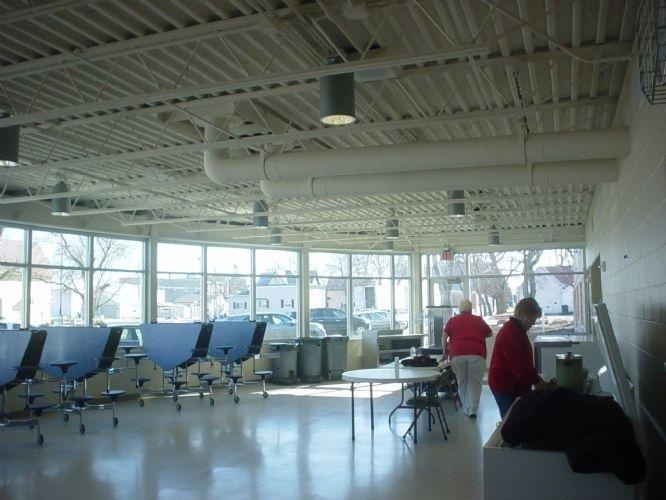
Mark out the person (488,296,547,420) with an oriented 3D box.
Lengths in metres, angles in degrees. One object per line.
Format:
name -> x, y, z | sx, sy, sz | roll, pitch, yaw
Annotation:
person -> 1.893, 1.120, 5.984 | 0.551, 1.234, 0.656 | -3, -9, 8

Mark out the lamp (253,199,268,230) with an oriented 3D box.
lamp -> -1.537, -0.798, 12.262 | 0.312, 0.551, 0.672 | -1, -9, -6

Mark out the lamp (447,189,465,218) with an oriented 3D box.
lamp -> 2.353, -0.977, 11.098 | 0.318, 0.578, 1.240 | -4, -9, 12

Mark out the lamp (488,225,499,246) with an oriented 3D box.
lamp -> 4.682, -0.430, 16.955 | 0.279, 0.588, 0.618 | -4, -9, 11

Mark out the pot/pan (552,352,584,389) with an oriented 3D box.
pot/pan -> 2.313, 1.208, 5.683 | 0.254, 0.359, 0.303 | -4, -9, 15

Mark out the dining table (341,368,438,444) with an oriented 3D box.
dining table -> 0.724, 2.085, 8.235 | 1.421, 0.671, 1.304 | -3, -4, 19

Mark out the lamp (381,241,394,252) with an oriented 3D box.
lamp -> 1.558, -0.117, 16.679 | 0.325, 0.188, 0.298 | 1, 3, -30

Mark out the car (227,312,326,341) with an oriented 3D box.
car -> -1.686, 2.274, 17.314 | 2.531, 0.675, 1.039 | 0, -5, -23

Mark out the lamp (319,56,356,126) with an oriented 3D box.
lamp -> 0.037, -1.898, 6.675 | 0.409, 0.779, 0.425 | -2, -9, 0

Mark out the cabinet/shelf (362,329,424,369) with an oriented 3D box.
cabinet/shelf -> 1.685, 3.004, 17.313 | 1.682, 1.106, 0.831 | -2, -9, 1

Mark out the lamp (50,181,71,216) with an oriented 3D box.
lamp -> -4.867, -0.959, 10.347 | 0.279, 0.589, 0.787 | 3, -10, -25

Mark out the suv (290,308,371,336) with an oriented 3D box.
suv -> -0.074, 2.285, 18.277 | 2.430, 0.781, 0.916 | -1, -5, -18

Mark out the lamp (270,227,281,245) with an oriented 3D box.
lamp -> -1.509, -0.367, 15.150 | 0.243, 0.389, 0.316 | 0, -9, -12
